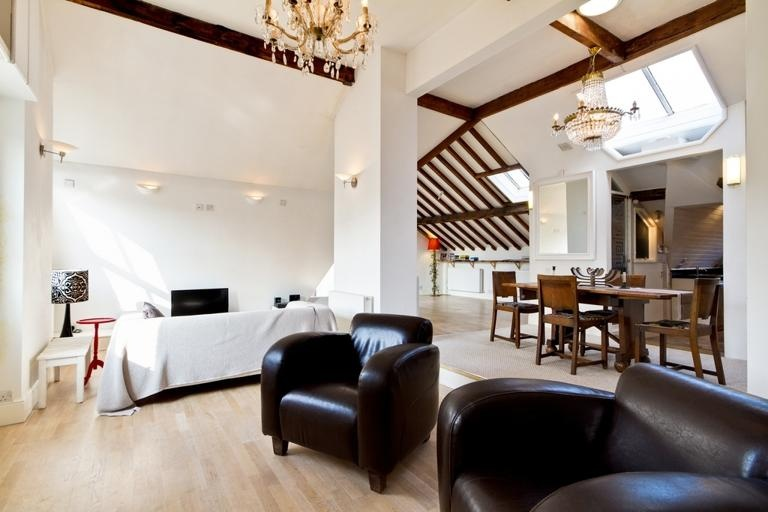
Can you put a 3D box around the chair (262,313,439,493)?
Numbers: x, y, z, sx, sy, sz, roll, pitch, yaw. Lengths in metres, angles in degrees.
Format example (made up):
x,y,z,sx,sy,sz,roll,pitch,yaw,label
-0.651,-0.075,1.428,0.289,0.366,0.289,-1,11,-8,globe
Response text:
x,y,z,sx,sy,sz,roll,pitch,yaw,label
-0.270,1.227,4.795,1.470,1.237,1.460,1,2,21,chair

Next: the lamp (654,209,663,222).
x,y,z,sx,sy,sz,roll,pitch,yaw,label
4.722,-0.708,8.851,0.109,0.178,0.058,-2,-4,16,lamp

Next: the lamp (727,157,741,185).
x,y,z,sx,sy,sz,roll,pitch,yaw,label
4.217,-1.028,6.219,0.166,0.330,0.067,-4,-5,37,lamp

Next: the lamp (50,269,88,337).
x,y,z,sx,sy,sz,roll,pitch,yaw,label
-3.640,0.523,5.887,0.420,0.770,0.346,-4,-5,35,lamp

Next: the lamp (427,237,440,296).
x,y,z,sx,sy,sz,roll,pitch,yaw,label
1.411,0.244,14.528,0.327,1.624,0.621,-2,-4,5,lamp

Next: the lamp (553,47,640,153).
x,y,z,sx,sy,sz,roll,pitch,yaw,label
2.381,-1.865,6.269,0.655,1.182,0.985,-1,-4,-4,lamp
